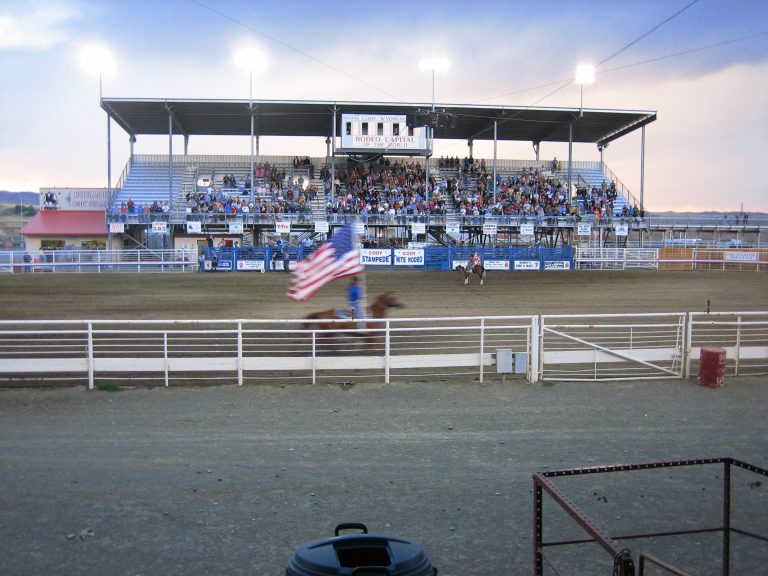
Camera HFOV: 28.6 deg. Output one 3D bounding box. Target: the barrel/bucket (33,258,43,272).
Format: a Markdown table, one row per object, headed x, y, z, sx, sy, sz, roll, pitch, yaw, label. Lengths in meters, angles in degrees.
| x | y | z | sx | sy | sz | roll | pitch | yaw | label |
| --- | --- | --- | --- | --- | --- | --- | --- | --- | --- |
| -16.432 | -1.118 | 71.364 | 0.493 | 0.648 | 0.903 | -3 | 2 | -13 | barrel/bucket |

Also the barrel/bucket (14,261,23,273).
| x | y | z | sx | sy | sz | roll | pitch | yaw | label |
| --- | --- | --- | --- | --- | --- | --- | --- | --- | --- |
| -17.262 | -1.029 | 70.842 | 0.613 | 0.529 | 0.311 | -1 | -2 | -10 | barrel/bucket |

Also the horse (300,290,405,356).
| x | y | z | sx | sy | sz | roll | pitch | yaw | label |
| --- | --- | --- | --- | --- | --- | --- | --- | --- | --- |
| -0.978 | 1.032 | 45.238 | 3.158 | 2.028 | 0.614 | -2 | 33 | -7 | horse |

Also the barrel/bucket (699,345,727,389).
| x | y | z | sx | sy | sz | roll | pitch | yaw | label |
| --- | --- | --- | --- | --- | --- | --- | --- | --- | --- |
| 9.214 | 2.203 | 42.143 | 0.786 | 1.088 | 0.486 | -2 | 2 | 8 | barrel/bucket |
